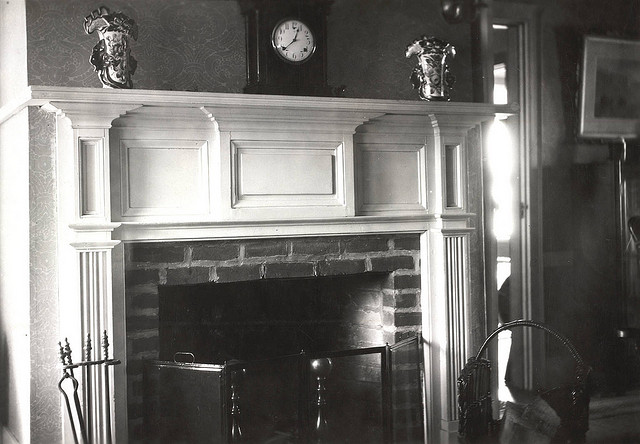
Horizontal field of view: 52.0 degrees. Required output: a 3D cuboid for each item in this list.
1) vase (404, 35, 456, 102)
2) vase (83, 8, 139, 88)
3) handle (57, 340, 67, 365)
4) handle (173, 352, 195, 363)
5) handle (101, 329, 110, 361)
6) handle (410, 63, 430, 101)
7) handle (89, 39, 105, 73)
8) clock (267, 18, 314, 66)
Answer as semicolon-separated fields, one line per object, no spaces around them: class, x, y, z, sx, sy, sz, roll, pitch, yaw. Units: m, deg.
vase;0.536;-0.721;3.122;0.254;0.321;0.087;-1;-1;-13
vase;-0.870;-0.715;2.741;0.204;0.314;0.113;-1;-8;-19
handle;-1.046;0.530;2.669;0.028;0.092;0.123;0;-8;-22
handle;-0.610;0.605;2.937;0.094;0.049;0.165;-2;-8;-13
handle;-0.893;0.508;2.722;0.030;0.127;0.084;-1;-8;-19
handle;0.452;-0.664;3.126;0.076;0.158;0.116;-4;-28;-3
handle;-0.921;-0.691;2.726;0.056;0.118;0.056;-2;-7;-8
clock;-0.122;-0.813;2.945;0.217;0.210;0.027;-3;5;-23
